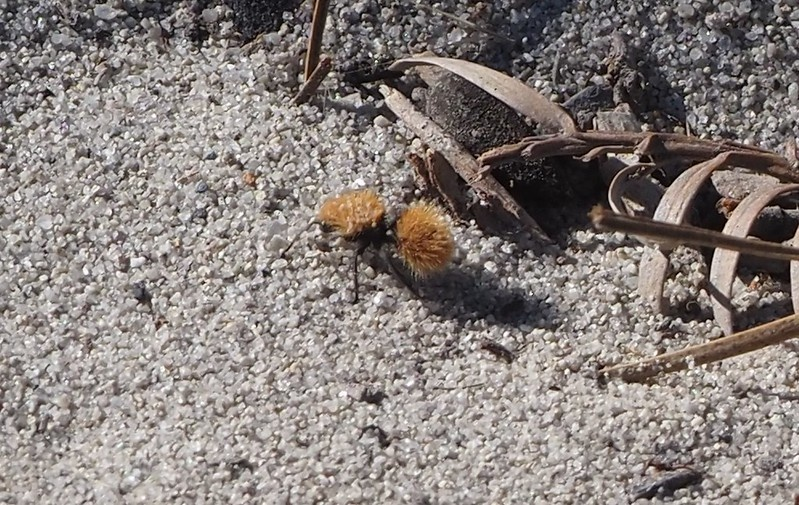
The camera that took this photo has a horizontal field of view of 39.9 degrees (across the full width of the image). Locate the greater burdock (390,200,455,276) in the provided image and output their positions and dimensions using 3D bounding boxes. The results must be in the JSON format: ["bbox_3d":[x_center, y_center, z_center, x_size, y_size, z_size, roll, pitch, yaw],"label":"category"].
[{"bbox_3d":[0.143,-0.077,5.312,0.175,0.332,0.332,-7,-17,24],"label":"greater burdock"}]

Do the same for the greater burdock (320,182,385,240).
[{"bbox_3d":[-0.230,-0.201,5.324,0.266,0.138,0.244,-37,30,-8],"label":"greater burdock"}]
